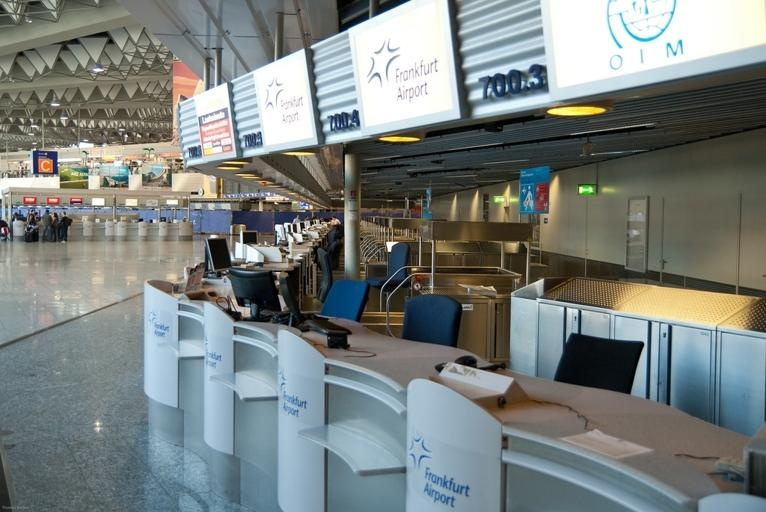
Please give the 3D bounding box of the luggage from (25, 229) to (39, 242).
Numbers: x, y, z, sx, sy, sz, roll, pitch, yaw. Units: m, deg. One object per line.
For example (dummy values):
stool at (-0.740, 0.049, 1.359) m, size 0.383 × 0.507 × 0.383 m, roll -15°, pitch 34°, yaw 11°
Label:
luggage at (-14.973, -0.907, 22.747) m, size 0.282 × 0.493 × 0.542 m, roll 7°, pitch 6°, yaw 35°

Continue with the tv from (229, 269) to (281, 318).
tv at (-1.037, 0.311, 4.289) m, size 0.454 × 0.418 × 0.157 m, roll 2°, pitch 7°, yaw 30°

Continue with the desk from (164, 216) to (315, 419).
desk at (-1.380, 0.723, 5.047) m, size 1.287 × 1.357 × 1.349 m, roll 2°, pitch -5°, yaw -26°

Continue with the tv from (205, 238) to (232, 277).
tv at (-2.000, 0.007, 6.586) m, size 0.288 × 0.469 × 0.515 m, roll -11°, pitch 2°, yaw -3°

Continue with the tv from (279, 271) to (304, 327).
tv at (-0.690, 0.307, 4.069) m, size 0.186 × 0.387 × 0.378 m, roll 2°, pitch 8°, yaw -9°
